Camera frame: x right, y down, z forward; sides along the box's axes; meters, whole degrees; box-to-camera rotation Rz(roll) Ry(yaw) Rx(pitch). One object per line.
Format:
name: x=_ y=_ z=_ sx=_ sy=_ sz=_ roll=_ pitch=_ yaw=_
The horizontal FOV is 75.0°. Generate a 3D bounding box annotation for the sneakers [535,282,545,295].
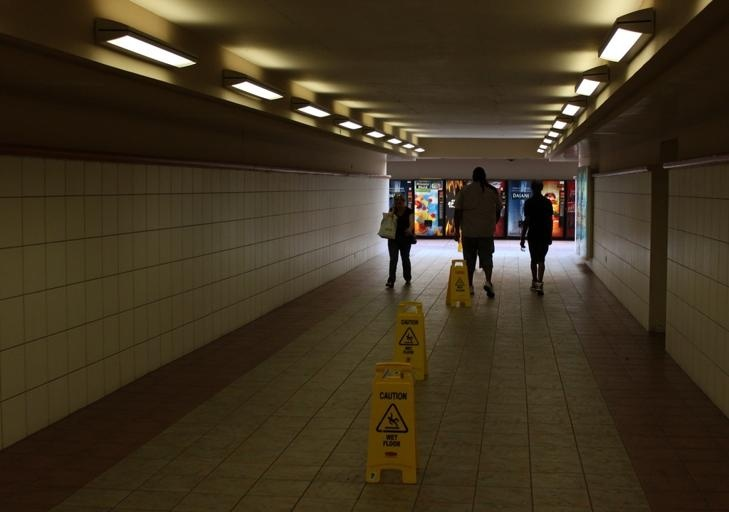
sneakers: x=3.651 y=0.722 z=10.040 sx=0.124 sy=0.257 sz=0.377 roll=-2 pitch=-15 yaw=16

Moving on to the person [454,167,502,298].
person: x=2.234 y=-0.475 z=9.425 sx=0.910 sy=2.635 sz=1.205 roll=0 pitch=4 yaw=14

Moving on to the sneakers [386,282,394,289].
sneakers: x=0.567 y=0.667 z=10.681 sx=0.113 sy=0.145 sz=0.312 roll=-1 pitch=-5 yaw=1

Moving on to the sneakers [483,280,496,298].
sneakers: x=2.502 y=0.725 z=9.506 sx=0.172 sy=0.405 sz=0.189 roll=5 pitch=42 yaw=29

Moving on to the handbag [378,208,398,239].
handbag: x=0.496 y=-0.693 z=10.752 sx=0.415 sy=0.687 sz=0.404 roll=-1 pitch=4 yaw=-11

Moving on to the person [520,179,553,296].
person: x=3.761 y=-0.453 z=10.443 sx=0.622 sy=2.389 sz=1.574 roll=1 pitch=5 yaw=19
